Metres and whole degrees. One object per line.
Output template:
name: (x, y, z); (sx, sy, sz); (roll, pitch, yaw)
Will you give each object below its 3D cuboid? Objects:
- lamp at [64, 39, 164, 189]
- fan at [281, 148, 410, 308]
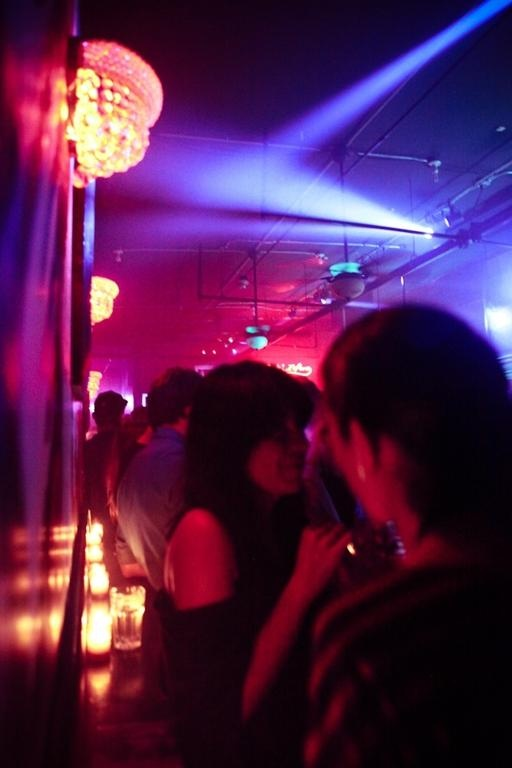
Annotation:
lamp: (-0.316, -0.629, 1.465); (0.225, 0.268, 0.476); (-1, 6, -15)
fan: (1.078, -1.443, 7.645); (1.078, 1.440, 1.237); (3, -26, -2)
